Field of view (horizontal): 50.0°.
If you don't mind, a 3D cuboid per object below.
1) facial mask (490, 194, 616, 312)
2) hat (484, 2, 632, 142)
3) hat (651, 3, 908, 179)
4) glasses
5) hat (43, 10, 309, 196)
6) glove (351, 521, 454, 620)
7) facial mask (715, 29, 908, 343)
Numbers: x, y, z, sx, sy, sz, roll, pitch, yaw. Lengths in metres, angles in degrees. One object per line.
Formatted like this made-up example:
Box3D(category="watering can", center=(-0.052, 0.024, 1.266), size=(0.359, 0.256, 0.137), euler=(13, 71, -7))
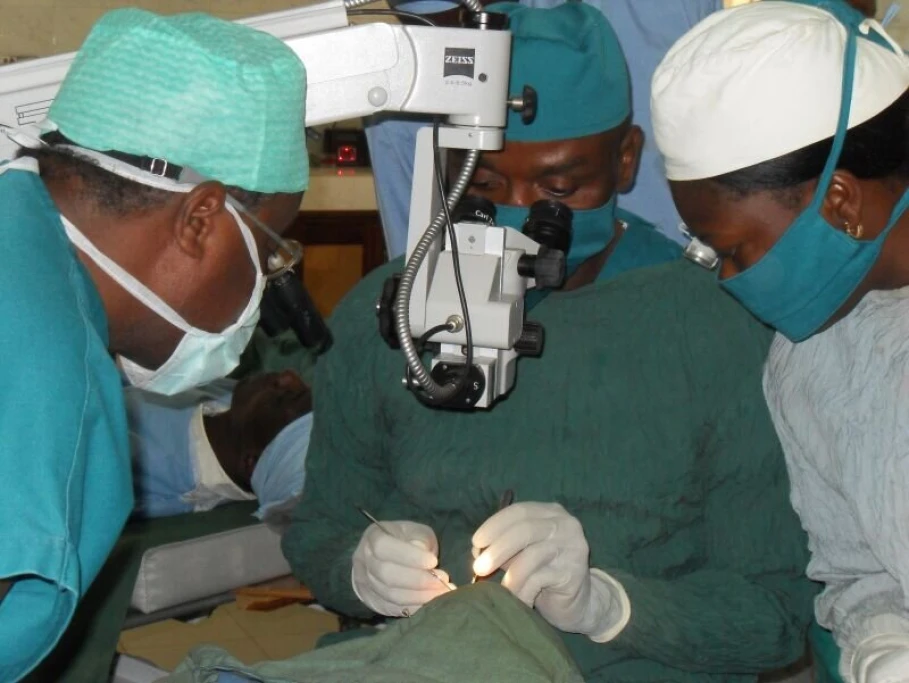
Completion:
Box3D(category="facial mask", center=(0.224, -0.208, 2.141), size=(0.263, 0.179, 0.131), euler=(4, 73, 19))
Box3D(category="hat", center=(0.231, -0.605, 2.213), size=(0.329, 0.262, 0.240), euler=(-11, 11, -18))
Box3D(category="hat", center=(0.616, -0.471, 1.901), size=(0.408, 0.240, 0.321), euler=(-18, 27, 12))
Box3D(category="glasses", center=(-0.350, -0.192, 1.798), size=(0.135, 0.104, 0.062), euler=(39, 99, -11))
Box3D(category="hat", center=(-0.470, -0.339, 1.679), size=(0.343, 0.192, 0.354), euler=(15, 16, -20))
Box3D(category="glove", center=(-0.120, 0.462, 2.112), size=(0.196, 0.092, 0.157), euler=(-30, 34, 14))
Box3D(category="facial mask", center=(0.668, -0.325, 1.900), size=(0.251, 0.499, 0.394), euler=(24, 15, -14))
